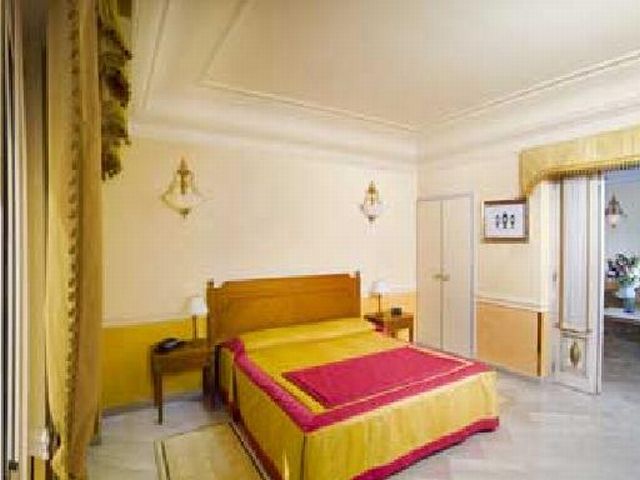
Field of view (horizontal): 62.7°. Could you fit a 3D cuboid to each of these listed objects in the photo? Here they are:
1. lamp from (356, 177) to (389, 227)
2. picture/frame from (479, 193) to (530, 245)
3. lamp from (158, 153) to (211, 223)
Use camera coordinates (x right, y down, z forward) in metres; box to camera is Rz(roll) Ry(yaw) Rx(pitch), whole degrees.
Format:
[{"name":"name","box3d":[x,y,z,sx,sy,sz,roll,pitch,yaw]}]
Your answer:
[{"name":"lamp","box3d":[0.272,-0.203,2.779,0.119,0.199,0.122,-1,3,-19]},{"name":"picture/frame","box3d":[1.100,-0.133,3.144,0.268,0.296,0.031,0,1,-1]},{"name":"lamp","box3d":[-0.642,-0.259,2.453,0.153,0.295,0.163,6,9,25]}]
